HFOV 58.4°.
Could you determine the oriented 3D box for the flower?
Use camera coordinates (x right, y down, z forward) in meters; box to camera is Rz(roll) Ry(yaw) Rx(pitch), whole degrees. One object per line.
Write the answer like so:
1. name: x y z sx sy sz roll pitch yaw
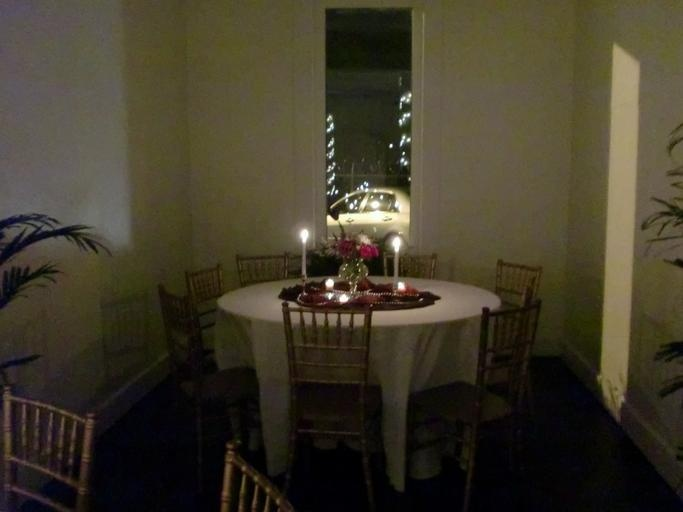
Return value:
1. flower: 0.012 0.002 3.967 0.395 0.372 0.417 0 2 27
